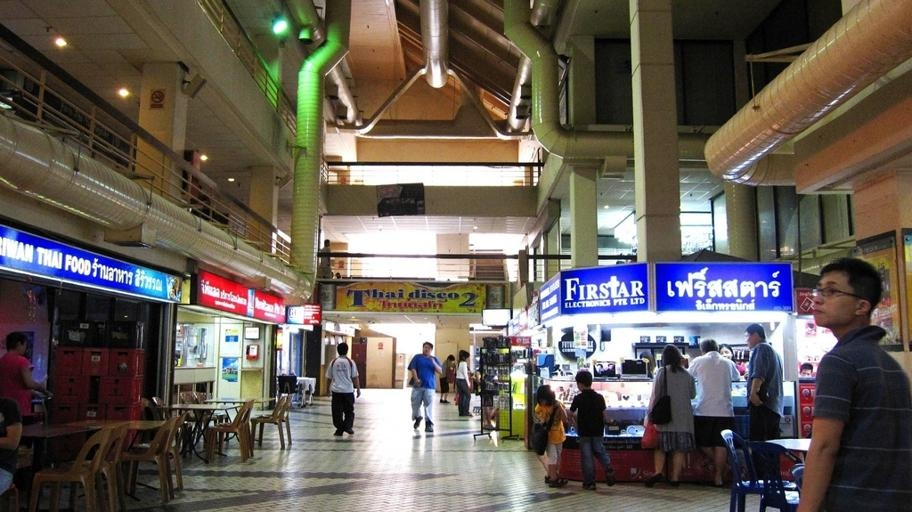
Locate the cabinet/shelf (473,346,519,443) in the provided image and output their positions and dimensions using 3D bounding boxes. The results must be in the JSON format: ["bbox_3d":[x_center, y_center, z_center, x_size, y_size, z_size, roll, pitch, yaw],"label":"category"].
[{"bbox_3d":[0.960,2.983,16.362,0.772,2.245,1.826,2,-5,-13],"label":"cabinet/shelf"}]

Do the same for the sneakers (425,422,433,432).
[{"bbox_3d":[-0.653,3.982,16.648,0.168,0.258,0.274,5,-17,-11],"label":"sneakers"}]

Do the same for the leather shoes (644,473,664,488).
[{"bbox_3d":[3.284,3.715,11.836,0.173,0.311,0.110,46,12,-20],"label":"leather shoes"}]

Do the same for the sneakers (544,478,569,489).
[{"bbox_3d":[1.699,3.783,11.880,0.288,0.106,0.145,0,-4,-4],"label":"sneakers"}]

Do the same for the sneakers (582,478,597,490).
[{"bbox_3d":[2.202,3.732,11.738,0.224,0.141,0.237,0,-5,7],"label":"sneakers"}]

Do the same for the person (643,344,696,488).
[{"bbox_3d":[3.578,2.622,11.781,0.847,2.293,0.436,1,-5,4],"label":"person"}]

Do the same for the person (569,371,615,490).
[{"bbox_3d":[2.268,2.860,11.893,0.722,1.903,0.409,1,-5,-6],"label":"person"}]

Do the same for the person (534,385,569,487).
[{"bbox_3d":[1.604,2.982,12.029,0.527,1.667,0.810,0,-5,8],"label":"person"}]

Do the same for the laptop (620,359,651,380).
[{"bbox_3d":[3.166,1.989,12.528,0.498,0.321,0.321,2,-6,3],"label":"laptop"}]

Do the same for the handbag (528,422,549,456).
[{"bbox_3d":[1.409,3.030,11.874,0.249,0.555,0.466,0,-5,8],"label":"handbag"}]

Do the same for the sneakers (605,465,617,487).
[{"bbox_3d":[2.556,3.626,11.823,0.160,0.321,0.229,-7,-5,1],"label":"sneakers"}]

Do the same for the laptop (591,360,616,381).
[{"bbox_3d":[2.651,2.020,12.724,0.473,0.244,0.391,-1,29,12],"label":"laptop"}]
